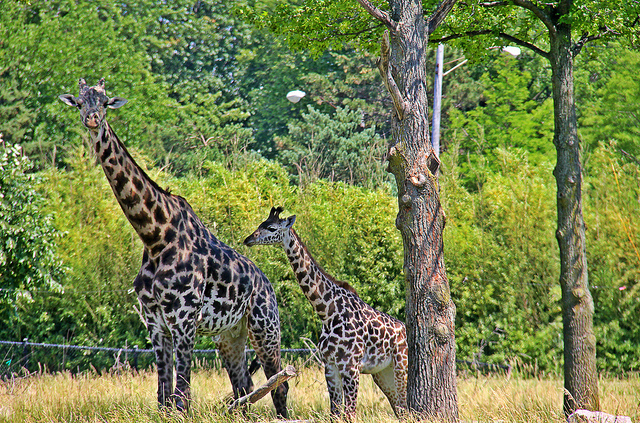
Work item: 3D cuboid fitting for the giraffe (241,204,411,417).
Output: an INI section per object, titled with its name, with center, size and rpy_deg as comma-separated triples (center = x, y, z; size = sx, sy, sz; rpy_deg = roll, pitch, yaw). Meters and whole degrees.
[giraffe]
center = 0.067, 2.777, 43.626
size = 2.877, 4.768, 8.689
rpy_deg = 4, 2, 17
